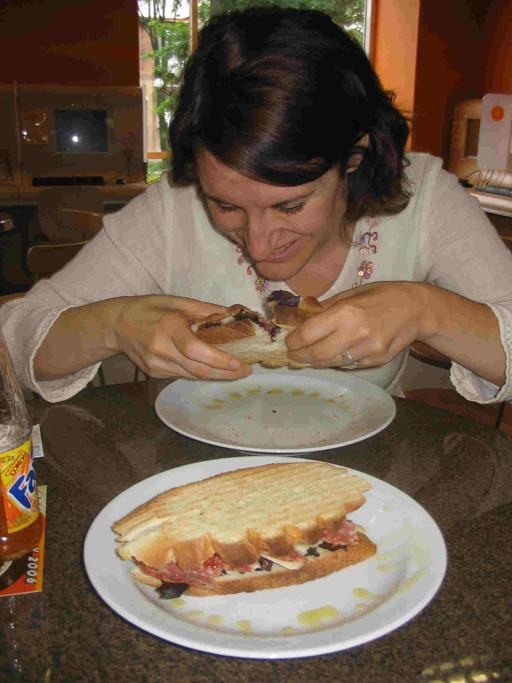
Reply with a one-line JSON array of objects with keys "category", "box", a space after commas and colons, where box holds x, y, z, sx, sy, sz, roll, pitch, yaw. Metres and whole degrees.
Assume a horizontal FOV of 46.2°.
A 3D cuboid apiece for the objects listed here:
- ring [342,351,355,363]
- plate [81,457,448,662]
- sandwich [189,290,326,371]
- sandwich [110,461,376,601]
[{"category": "ring", "box": [0.201, 0.034, 1.308, 0.026, 0.030, 0.012, 15, 52, 24]}, {"category": "plate", "box": [0.010, 0.283, 0.865, 0.500, 0.045, 0.459, 8, 19, 20]}, {"category": "sandwich", "box": [0.007, -0.030, 1.413, 0.278, 0.114, 0.160, 0, 30, -4]}, {"category": "sandwich", "box": [-0.003, 0.271, 0.879, 0.240, 0.053, 0.162, -3, 14, -10]}]
